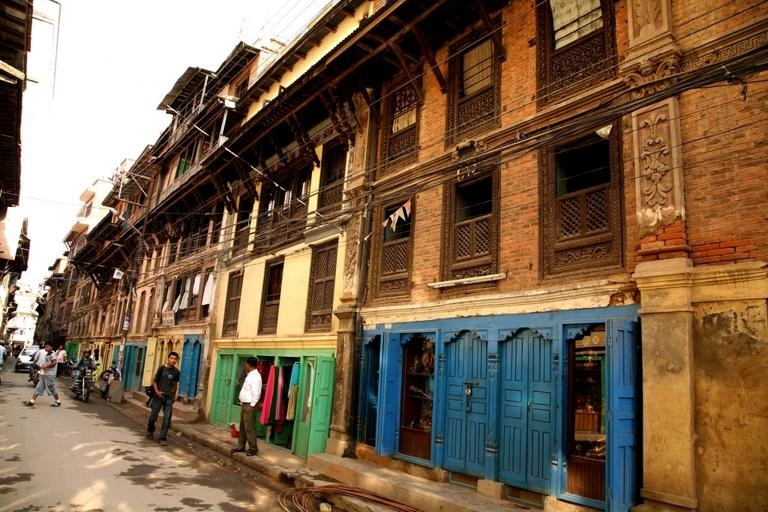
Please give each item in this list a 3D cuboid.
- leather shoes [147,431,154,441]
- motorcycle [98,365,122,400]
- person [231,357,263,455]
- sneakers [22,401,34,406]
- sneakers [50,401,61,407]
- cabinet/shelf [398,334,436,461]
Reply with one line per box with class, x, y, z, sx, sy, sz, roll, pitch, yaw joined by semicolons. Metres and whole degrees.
leather shoes;-6.661;5.092;15.489;0.125;0.299;0.105;-6;0;14
motorcycle;-13.512;6.117;26.386;1.354;1.491;2.714;1;-10;-19
person;-3.650;4.004;14.643;0.629;2.524;1.547;4;-14;-14
sneakers;-12.130;4.965;18.594;0.285;0.173;0.612;10;-16;-33
sneakers;-11.606;5.169;19.252;0.292;0.232;0.631;9;-16;-32
cabinet/shelf;0.806;3.458;13.439;1.205;2.883;0.676;-4;-16;36
